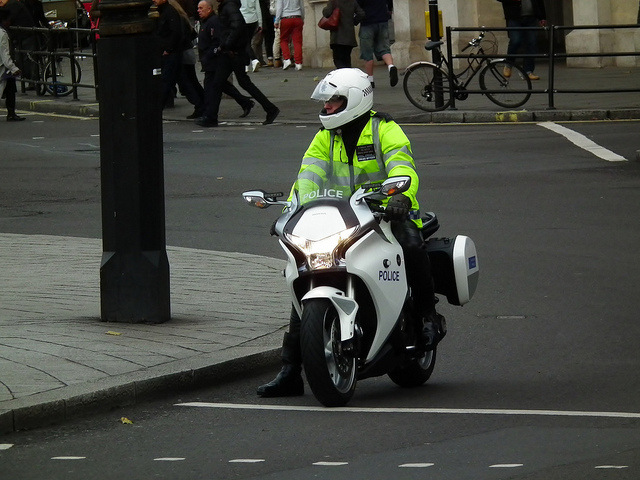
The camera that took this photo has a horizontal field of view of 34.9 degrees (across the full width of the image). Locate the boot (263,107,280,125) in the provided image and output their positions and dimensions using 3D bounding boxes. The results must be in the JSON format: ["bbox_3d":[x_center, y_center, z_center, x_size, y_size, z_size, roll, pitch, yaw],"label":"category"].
[{"bbox_3d":[-0.972,-2.444,20.260,0.192,0.169,0.506,34,59,13],"label":"boot"}]

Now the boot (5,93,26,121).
[{"bbox_3d":[-6.811,-2.952,22.510,0.346,0.649,0.696,-2,12,-8],"label":"boot"}]

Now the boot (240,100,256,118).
[{"bbox_3d":[-1.547,-2.786,21.383,0.285,0.360,0.685,-2,12,-4],"label":"boot"}]

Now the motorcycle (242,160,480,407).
[{"bbox_3d":[0.396,0.312,7.006,0.929,1.511,2.371,-8,-3,24],"label":"motorcycle"}]

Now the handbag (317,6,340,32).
[{"bbox_3d":[0.201,-4.982,22.782,0.460,0.505,0.364,3,12,17],"label":"handbag"}]

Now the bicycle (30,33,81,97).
[{"bbox_3d":[-7.050,-4.436,26.713,2.036,1.436,1.059,8,11,28],"label":"bicycle"}]

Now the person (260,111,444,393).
[{"bbox_3d":[0.321,0.296,7.149,0.871,1.526,2.596,-8,-6,20],"label":"person"}]
